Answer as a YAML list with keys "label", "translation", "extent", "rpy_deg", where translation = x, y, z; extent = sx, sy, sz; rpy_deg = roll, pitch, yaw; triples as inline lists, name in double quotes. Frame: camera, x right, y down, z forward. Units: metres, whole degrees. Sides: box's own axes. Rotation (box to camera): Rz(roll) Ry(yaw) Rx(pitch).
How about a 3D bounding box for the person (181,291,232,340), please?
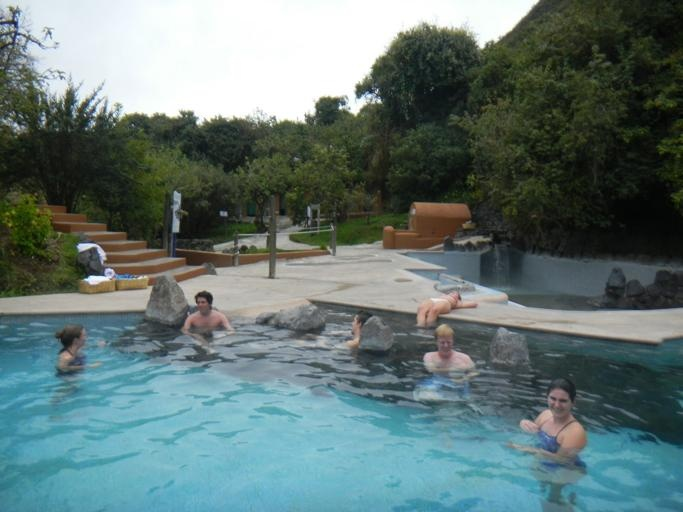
- label: "person"
  translation: [-2.344, 1.029, 8.468]
  extent: [0.873, 0.833, 0.539]
  rpy_deg: [-1, -2, -6]

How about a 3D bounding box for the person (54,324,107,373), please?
- label: "person"
  translation: [-3.957, 1.441, 7.203]
  extent: [0.628, 0.849, 0.677]
  rpy_deg: [7, 10, -3]

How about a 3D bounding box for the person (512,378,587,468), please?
- label: "person"
  translation: [2.313, 1.757, 5.275]
  extent: [0.685, 0.885, 0.412]
  rpy_deg: [2, 4, 30]

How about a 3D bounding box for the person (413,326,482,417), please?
- label: "person"
  translation: [1.454, 1.624, 6.826]
  extent: [0.968, 1.255, 0.846]
  rpy_deg: [1, -14, 0]

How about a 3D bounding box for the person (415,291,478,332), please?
- label: "person"
  translation: [1.933, 1.003, 9.332]
  extent: [0.495, 0.502, 1.704]
  rpy_deg: [4, 4, 44]
